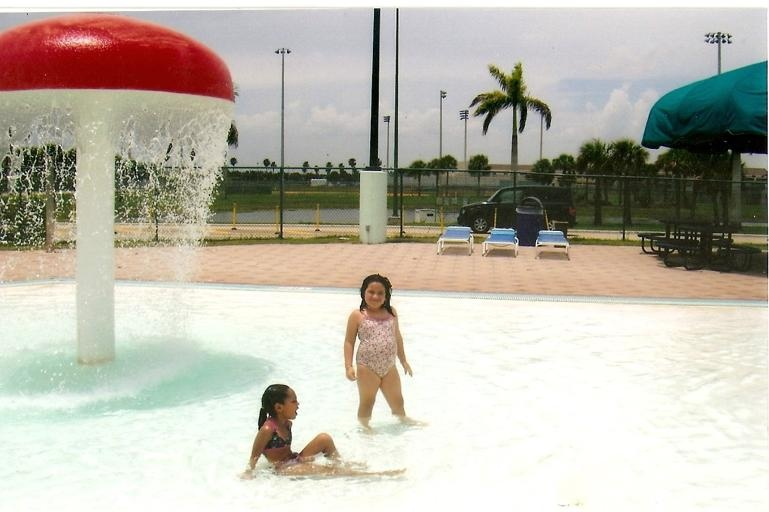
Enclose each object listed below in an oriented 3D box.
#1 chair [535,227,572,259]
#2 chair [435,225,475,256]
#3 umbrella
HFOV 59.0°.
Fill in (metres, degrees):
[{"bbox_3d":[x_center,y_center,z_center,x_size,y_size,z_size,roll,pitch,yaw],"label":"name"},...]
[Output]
[{"bbox_3d":[4.504,-0.301,18.472,0.699,0.602,1.353,2,11,5],"label":"chair"},{"bbox_3d":[2.042,-0.435,19.188,0.944,0.879,2.686,2,15,9],"label":"chair"},{"bbox_3d":[8.016,-3.452,16.616,3.045,2.344,5.875,5,15,20],"label":"umbrella"}]
